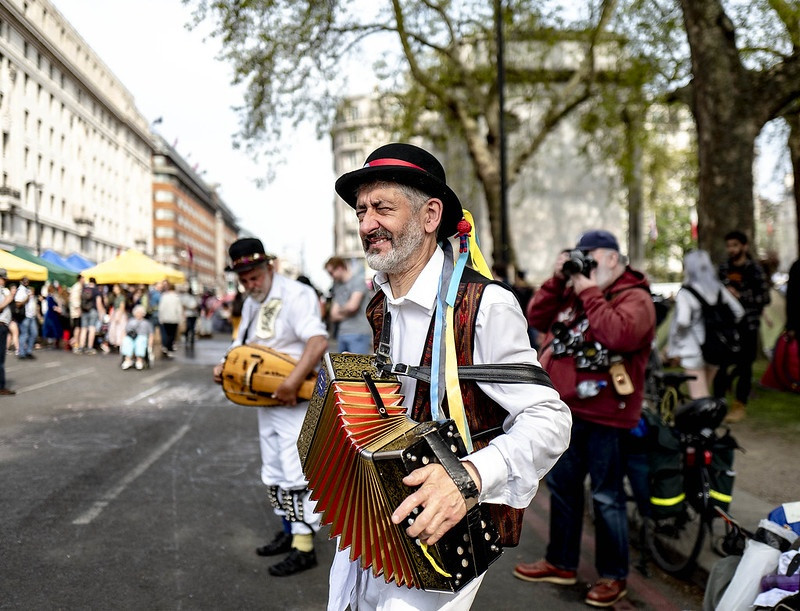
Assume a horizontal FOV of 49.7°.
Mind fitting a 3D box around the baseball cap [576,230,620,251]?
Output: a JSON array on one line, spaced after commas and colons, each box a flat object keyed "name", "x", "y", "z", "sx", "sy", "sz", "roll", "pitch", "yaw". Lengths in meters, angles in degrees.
[{"name": "baseball cap", "x": 1.798, "y": -0.581, "z": 7.861, "sx": 0.300, "sy": 0.141, "sz": 0.218, "roll": 5, "pitch": 7, "yaw": 10}]

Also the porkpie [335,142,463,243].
[{"name": "porkpie", "x": 0.071, "y": -0.982, "z": 6.359, "sx": 0.724, "sy": 0.359, "sz": 0.934, "roll": 2, "pitch": -13, "yaw": 39}]

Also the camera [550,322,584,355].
[{"name": "camera", "x": 1.508, "y": 0.305, "z": 7.827, "sx": 0.266, "sy": 0.272, "sz": 0.086, "roll": -3, "pitch": -10, "yaw": 43}]

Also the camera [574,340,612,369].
[{"name": "camera", "x": 1.701, "y": 0.441, "z": 7.683, "sx": 0.239, "sy": 0.248, "sz": 0.083, "roll": 6, "pitch": 3, "yaw": 34}]

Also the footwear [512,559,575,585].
[{"name": "footwear", "x": 1.346, "y": 2.483, "z": 8.135, "sx": 0.564, "sy": 0.233, "sz": 0.212, "roll": 5, "pitch": -8, "yaw": 9}]

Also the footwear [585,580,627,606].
[{"name": "footwear", "x": 1.831, "y": 2.563, "z": 7.719, "sx": 0.394, "sy": 0.173, "sz": 0.167, "roll": 6, "pitch": -8, "yaw": -37}]

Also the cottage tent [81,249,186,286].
[{"name": "cottage tent", "x": -7.293, "y": -0.920, "z": 23.826, "sx": 1.570, "sy": 0.688, "sz": 1.560, "roll": 1, "pitch": -1, "yaw": -3}]

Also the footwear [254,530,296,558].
[{"name": "footwear", "x": -1.203, "y": 2.336, "z": 8.439, "sx": 0.465, "sy": 0.203, "sz": 0.159, "roll": 5, "pitch": 0, "yaw": -18}]

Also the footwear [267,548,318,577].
[{"name": "footwear", "x": -0.995, "y": 2.433, "z": 8.157, "sx": 0.489, "sy": 0.213, "sz": 0.181, "roll": -3, "pitch": 1, "yaw": -21}]

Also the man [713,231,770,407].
[{"name": "man", "x": 4.750, "y": 0.362, "z": 12.089, "sx": 0.859, "sy": 2.284, "sz": 0.721, "roll": -16, "pitch": 16, "yaw": -26}]

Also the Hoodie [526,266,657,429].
[{"name": "Hoodie", "x": 1.789, "y": 0.335, "z": 8.055, "sx": 0.857, "sy": 1.427, "sz": 1.227, "roll": 8, "pitch": -2, "yaw": -34}]

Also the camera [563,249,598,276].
[{"name": "camera", "x": 1.581, "y": -0.371, "z": 7.692, "sx": 0.251, "sy": 0.253, "sz": 0.097, "roll": 8, "pitch": 21, "yaw": 17}]
